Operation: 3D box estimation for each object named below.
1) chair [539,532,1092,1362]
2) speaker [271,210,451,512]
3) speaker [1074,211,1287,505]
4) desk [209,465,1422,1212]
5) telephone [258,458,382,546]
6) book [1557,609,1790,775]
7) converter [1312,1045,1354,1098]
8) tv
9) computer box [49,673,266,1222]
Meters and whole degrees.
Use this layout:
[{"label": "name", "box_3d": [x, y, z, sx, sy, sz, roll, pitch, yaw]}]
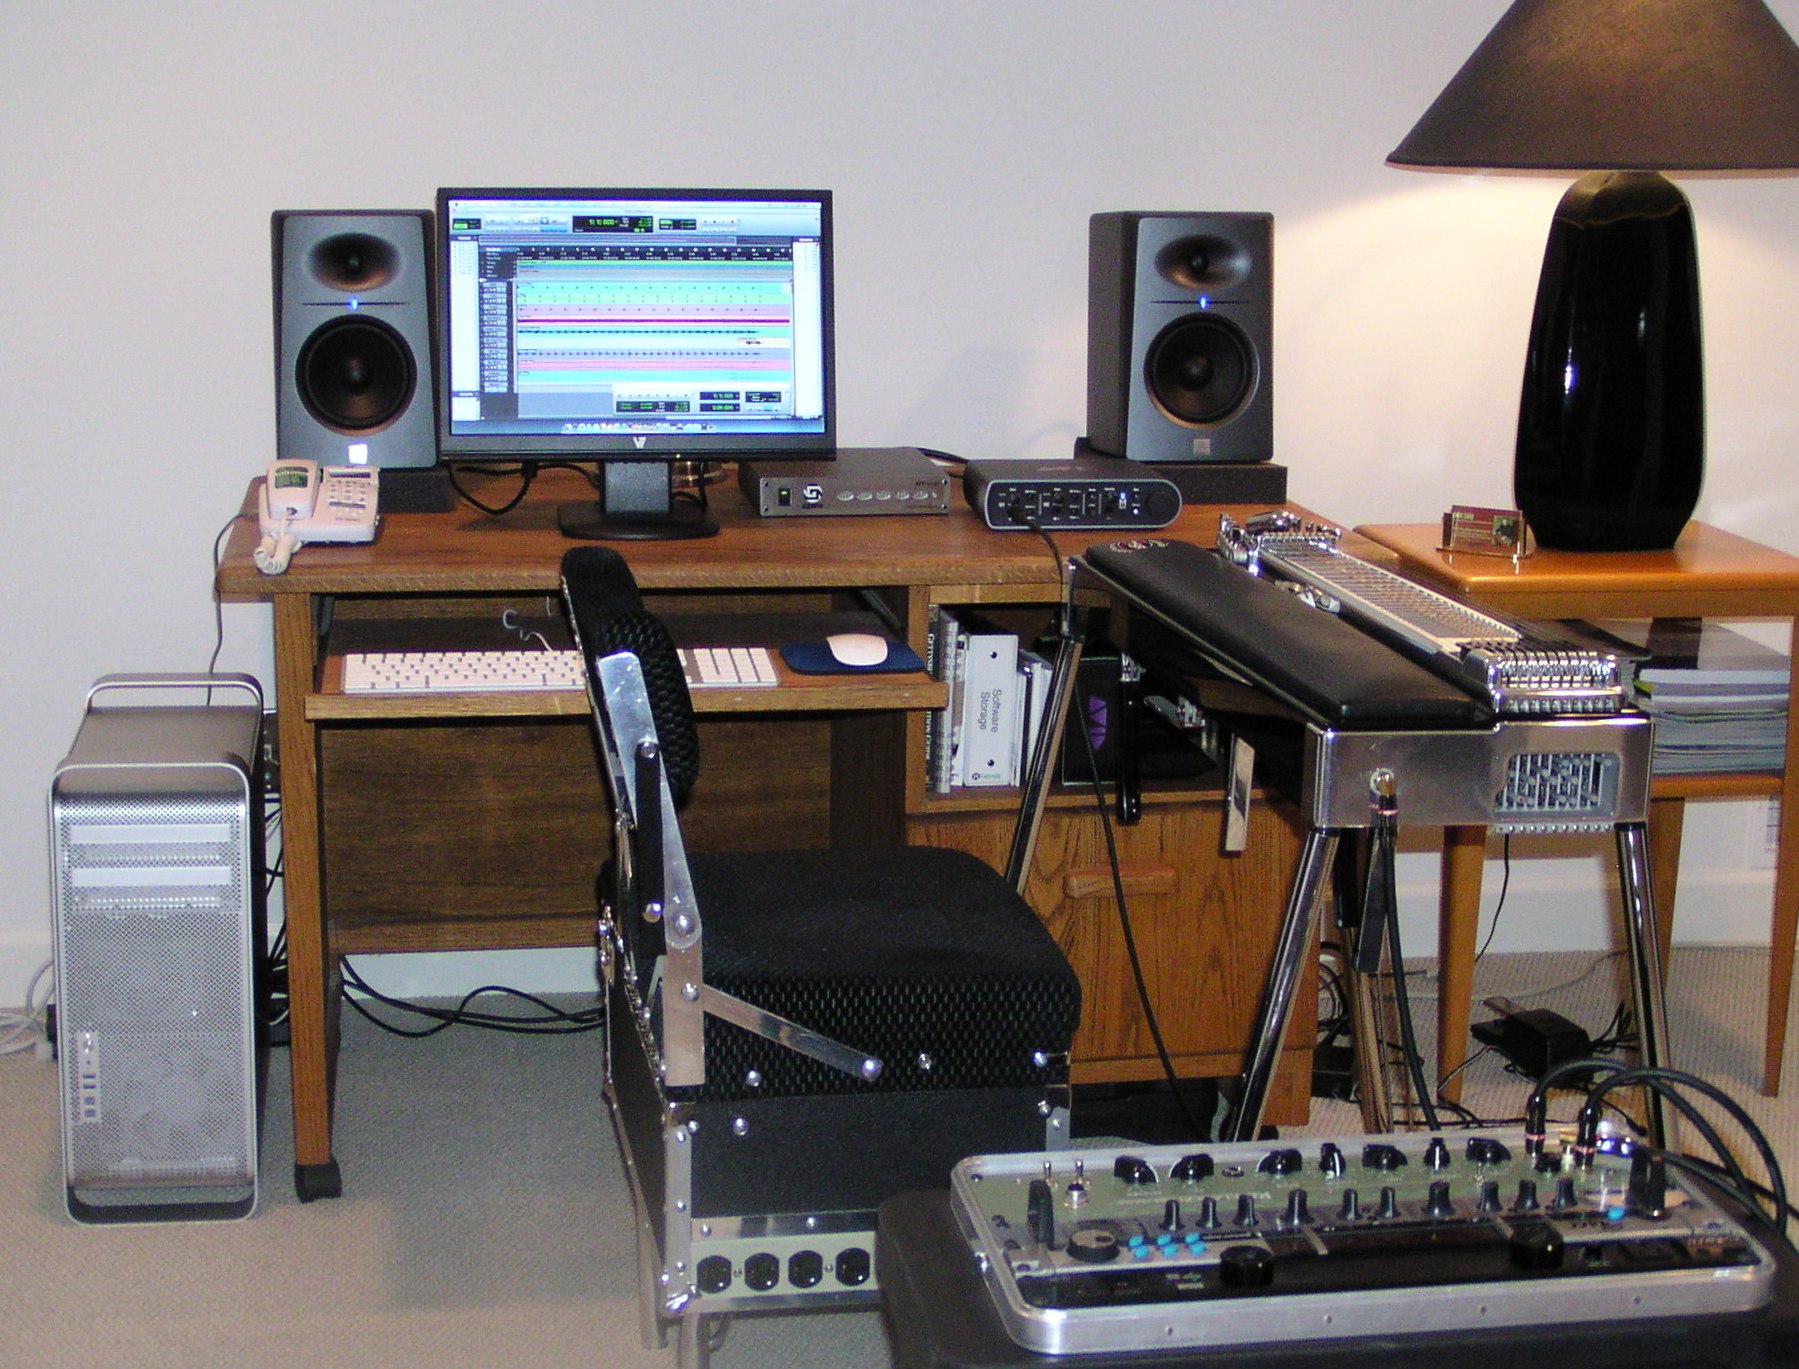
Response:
[{"label": "chair", "box_3d": [-0.094, 0.372, 2.120, 0.582, 1.100, 0.435, -4, 15, -11]}, {"label": "speaker", "box_3d": [-0.880, -0.522, 2.806, 0.339, 0.486, 0.346, 2, 7, 15]}, {"label": "speaker", "box_3d": [0.541, -0.575, 3.001, 0.332, 0.522, 0.368, 1, 5, 4]}, {"label": "desk", "box_3d": [-0.292, 0.253, 2.900, 1.600, 0.984, 0.561, 1, 12, -25]}, {"label": "telephone", "box_3d": [-0.870, -0.269, 2.531, 0.166, 0.110, 0.171, -7, 16, -21]}, {"label": "book", "box_3d": [1.354, 0.025, 2.989, 0.346, 0.155, 0.454, -1, 16, -1]}, {"label": "converter", "box_3d": [0.753, 0.677, 2.965, 0.078, 0.020, 0.085, -2, 26, -5]}, {"label": "tv", "box_3d": [-0.414, -0.524, 2.657, 0.551, 0.477, 0.214, 0, 8, -5]}, {"label": "computer box", "box_3d": [-1.148, 0.396, 2.616, 0.364, 0.737, 0.462, -6, 16, -20]}]
